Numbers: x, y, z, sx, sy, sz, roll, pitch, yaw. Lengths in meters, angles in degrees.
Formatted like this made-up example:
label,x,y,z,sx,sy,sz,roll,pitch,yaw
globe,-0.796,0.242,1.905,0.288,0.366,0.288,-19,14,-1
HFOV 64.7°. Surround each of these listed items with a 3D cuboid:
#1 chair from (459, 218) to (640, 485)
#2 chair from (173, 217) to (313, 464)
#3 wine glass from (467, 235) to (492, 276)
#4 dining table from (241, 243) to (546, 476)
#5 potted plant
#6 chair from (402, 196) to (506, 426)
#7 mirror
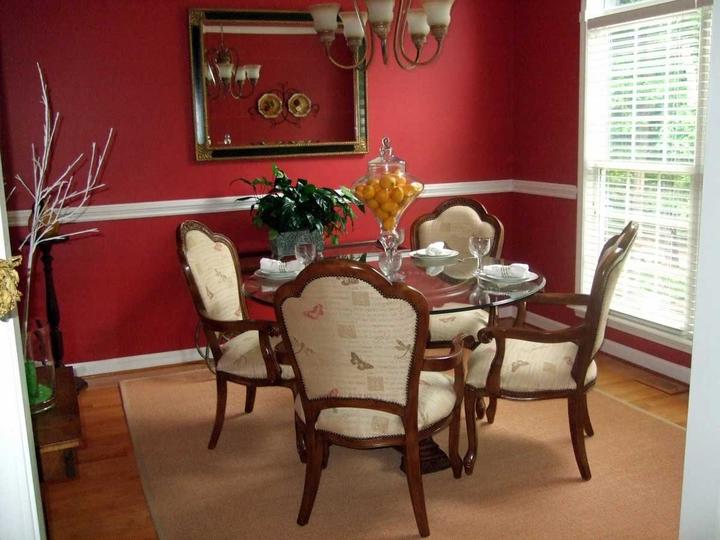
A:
label,x,y,z,sx,sy,sz,roll,pitch,yaw
chair,0.947,0.387,2.965,0.786,1.260,0.717,4,15,29
chair,-0.548,0.354,3.296,0.822,1.267,0.834,9,17,37
wine glass,0.668,-0.076,3.182,0.141,0.220,0.144,-4,19,-5
dining table,0.422,0.246,3.284,1.342,0.936,1.377,-1,5,-1
potted plant,-0.388,-0.416,3.971,0.791,0.594,0.797,1,11,-15
chair,0.588,0.179,3.803,0.709,1.234,0.750,12,21,25
mirror,-0.676,-1.380,4.214,1.320,1.043,0.047,-2,8,-15
